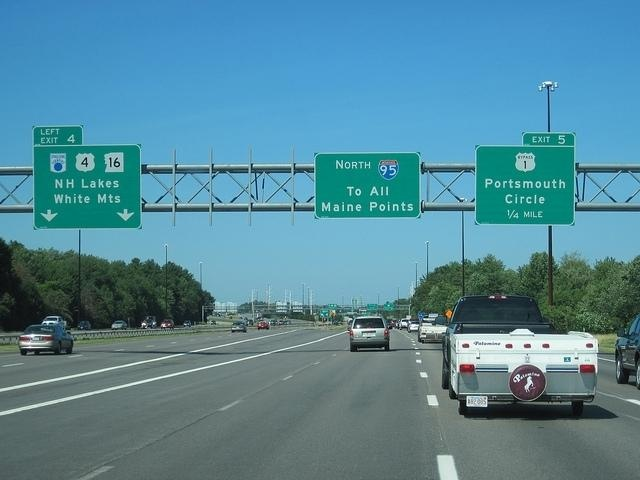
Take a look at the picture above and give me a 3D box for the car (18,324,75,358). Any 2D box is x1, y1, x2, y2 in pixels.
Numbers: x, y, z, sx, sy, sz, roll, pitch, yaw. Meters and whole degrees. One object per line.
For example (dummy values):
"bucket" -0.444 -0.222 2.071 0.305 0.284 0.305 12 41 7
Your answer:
"car" -13.164 4.860 50.014 1.545 1.520 3.754 -2 -7 14

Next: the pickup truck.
"pickup truck" 5.121 3.178 28.998 3.417 3.489 6.896 1 -3 -2

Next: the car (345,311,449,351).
"car" 2.456 4.649 50.904 1.801 1.775 2.391 -2 -6 6
